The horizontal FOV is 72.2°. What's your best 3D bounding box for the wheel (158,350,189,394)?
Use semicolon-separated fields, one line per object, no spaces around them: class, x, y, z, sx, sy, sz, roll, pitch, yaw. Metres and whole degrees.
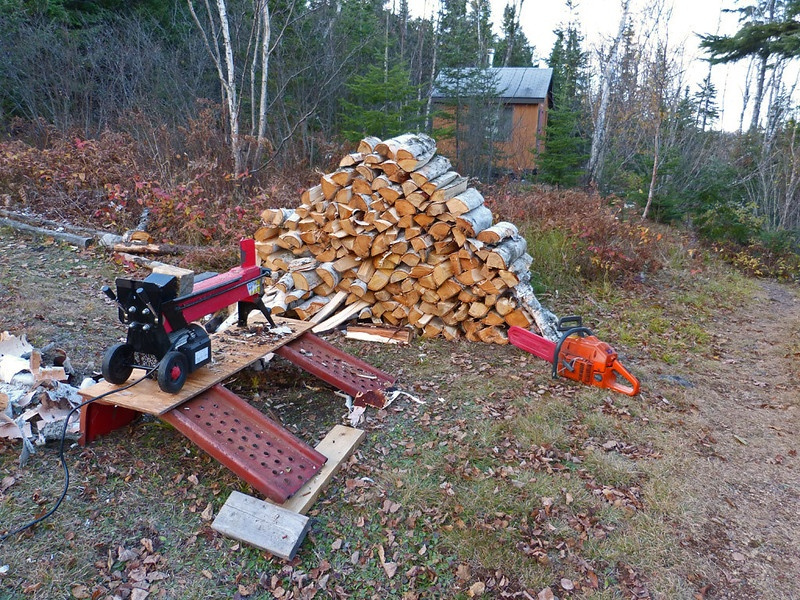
wheel;-2.239;0.706;5.432;0.123;0.406;0.360;8;16;15

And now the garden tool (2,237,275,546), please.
garden tool;-2.295;0.236;5.707;0.783;1.453;1.786;17;25;29

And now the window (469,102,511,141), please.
window;2.969;-5.945;18.412;0.169;1.296;2.188;-8;5;29

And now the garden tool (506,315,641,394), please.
garden tool;2.120;0.483;7.057;0.624;0.849;1.915;-22;31;-38
